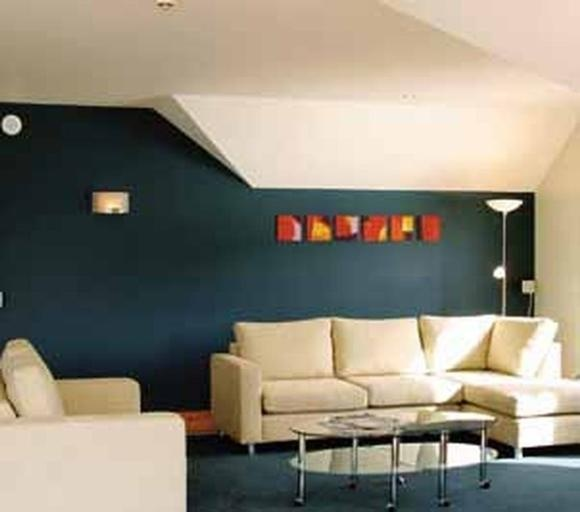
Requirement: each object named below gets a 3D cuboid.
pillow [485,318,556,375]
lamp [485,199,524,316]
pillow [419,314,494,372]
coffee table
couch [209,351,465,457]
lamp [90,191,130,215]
[{"bbox_3d":[1.810,0.688,5.255,0.197,0.448,0.489,27,-5,-27],"label":"pillow"},{"bbox_3d":[1.963,-0.001,6.147,0.333,1.092,0.614,0,1,19],"label":"lamp"},{"bbox_3d":[1.388,0.733,5.558,0.465,0.287,0.152,-1,-16,-1],"label":"pillow"},{"bbox_3d":[0.623,1.172,4.076,1.341,0.421,0.884,0,0,-39],"label":"coffee table"},{"bbox_3d":[-0.059,1.078,4.894,1.169,0.670,0.778,2,-9,-21],"label":"couch"},{"bbox_3d":[-1.483,-0.437,5.512,0.304,0.182,0.065,1,4,-13],"label":"lamp"}]
